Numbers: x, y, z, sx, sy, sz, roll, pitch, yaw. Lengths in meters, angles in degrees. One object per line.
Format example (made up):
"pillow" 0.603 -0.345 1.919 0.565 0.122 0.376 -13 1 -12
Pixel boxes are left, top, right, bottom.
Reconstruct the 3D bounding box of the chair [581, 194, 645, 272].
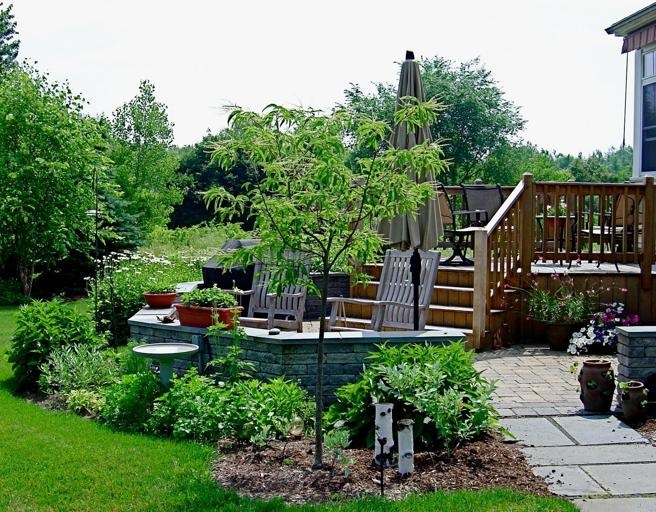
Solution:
"chair" 4.906 -0.444 9.817 0.715 1.231 3.365 2 8 28

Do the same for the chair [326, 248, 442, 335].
"chair" 0.639 0.603 6.819 1.120 1.435 1.005 3 2 -27

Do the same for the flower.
"flower" 3.538 0.814 8.120 1.220 0.889 1.366 0 2 -1

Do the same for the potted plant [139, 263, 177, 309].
"potted plant" -2.305 0.456 8.180 0.453 0.613 0.495 -4 -10 4

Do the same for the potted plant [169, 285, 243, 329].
"potted plant" -1.325 0.595 6.599 0.560 0.338 0.495 -1 0 30

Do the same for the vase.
"vase" 2.810 1.370 5.826 0.660 0.516 0.419 0 3 22
